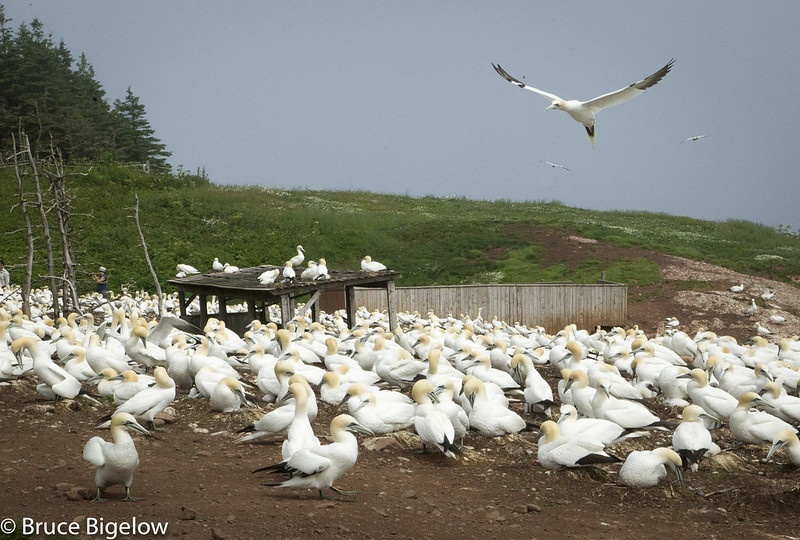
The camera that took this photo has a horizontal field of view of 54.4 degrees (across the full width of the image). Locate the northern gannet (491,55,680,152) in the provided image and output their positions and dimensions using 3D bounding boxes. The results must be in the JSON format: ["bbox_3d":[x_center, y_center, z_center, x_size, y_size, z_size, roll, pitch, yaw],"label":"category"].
[{"bbox_3d":[4.649,-4.372,20.325,5.451,1.939,2.401,-6,28,-21],"label":"northern gannet"}]
